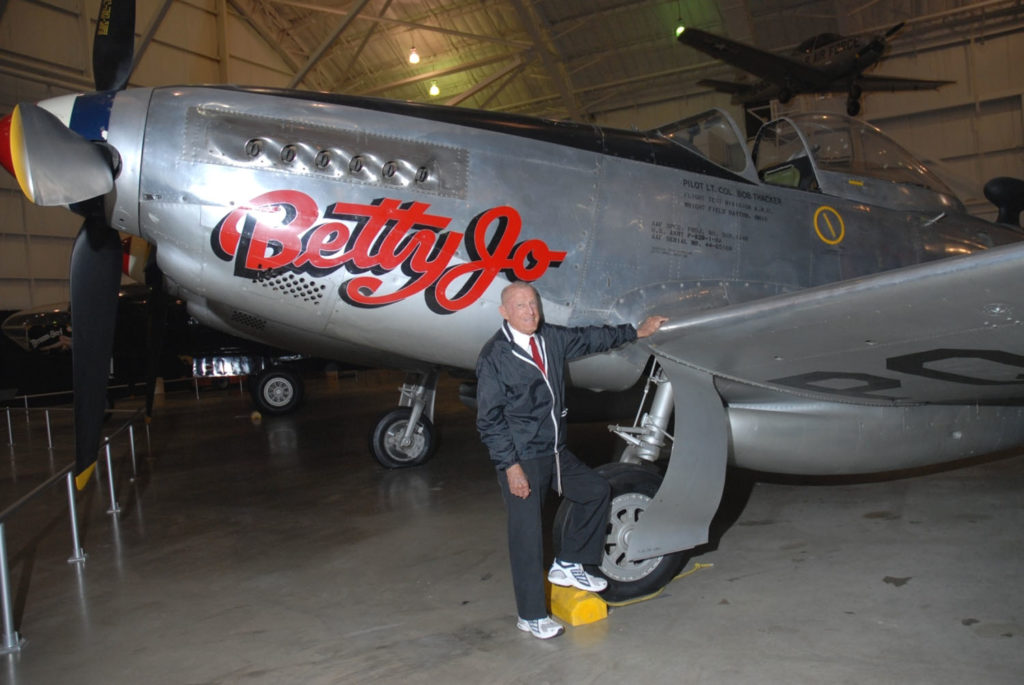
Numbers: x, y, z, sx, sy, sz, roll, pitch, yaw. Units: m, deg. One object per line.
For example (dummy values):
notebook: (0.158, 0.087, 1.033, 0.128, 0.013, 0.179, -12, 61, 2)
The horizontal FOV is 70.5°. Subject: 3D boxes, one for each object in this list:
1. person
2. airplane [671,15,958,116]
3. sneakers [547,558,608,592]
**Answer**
person: (0.165, 0.653, 4.264, 0.623, 1.981, 0.547, -14, 16, -41)
airplane: (5.842, -5.569, 14.738, 4.093, 1.338, 2.952, -6, 20, -30)
sneakers: (0.393, 1.422, 4.475, 0.408, 0.185, 0.162, 3, -2, -5)
